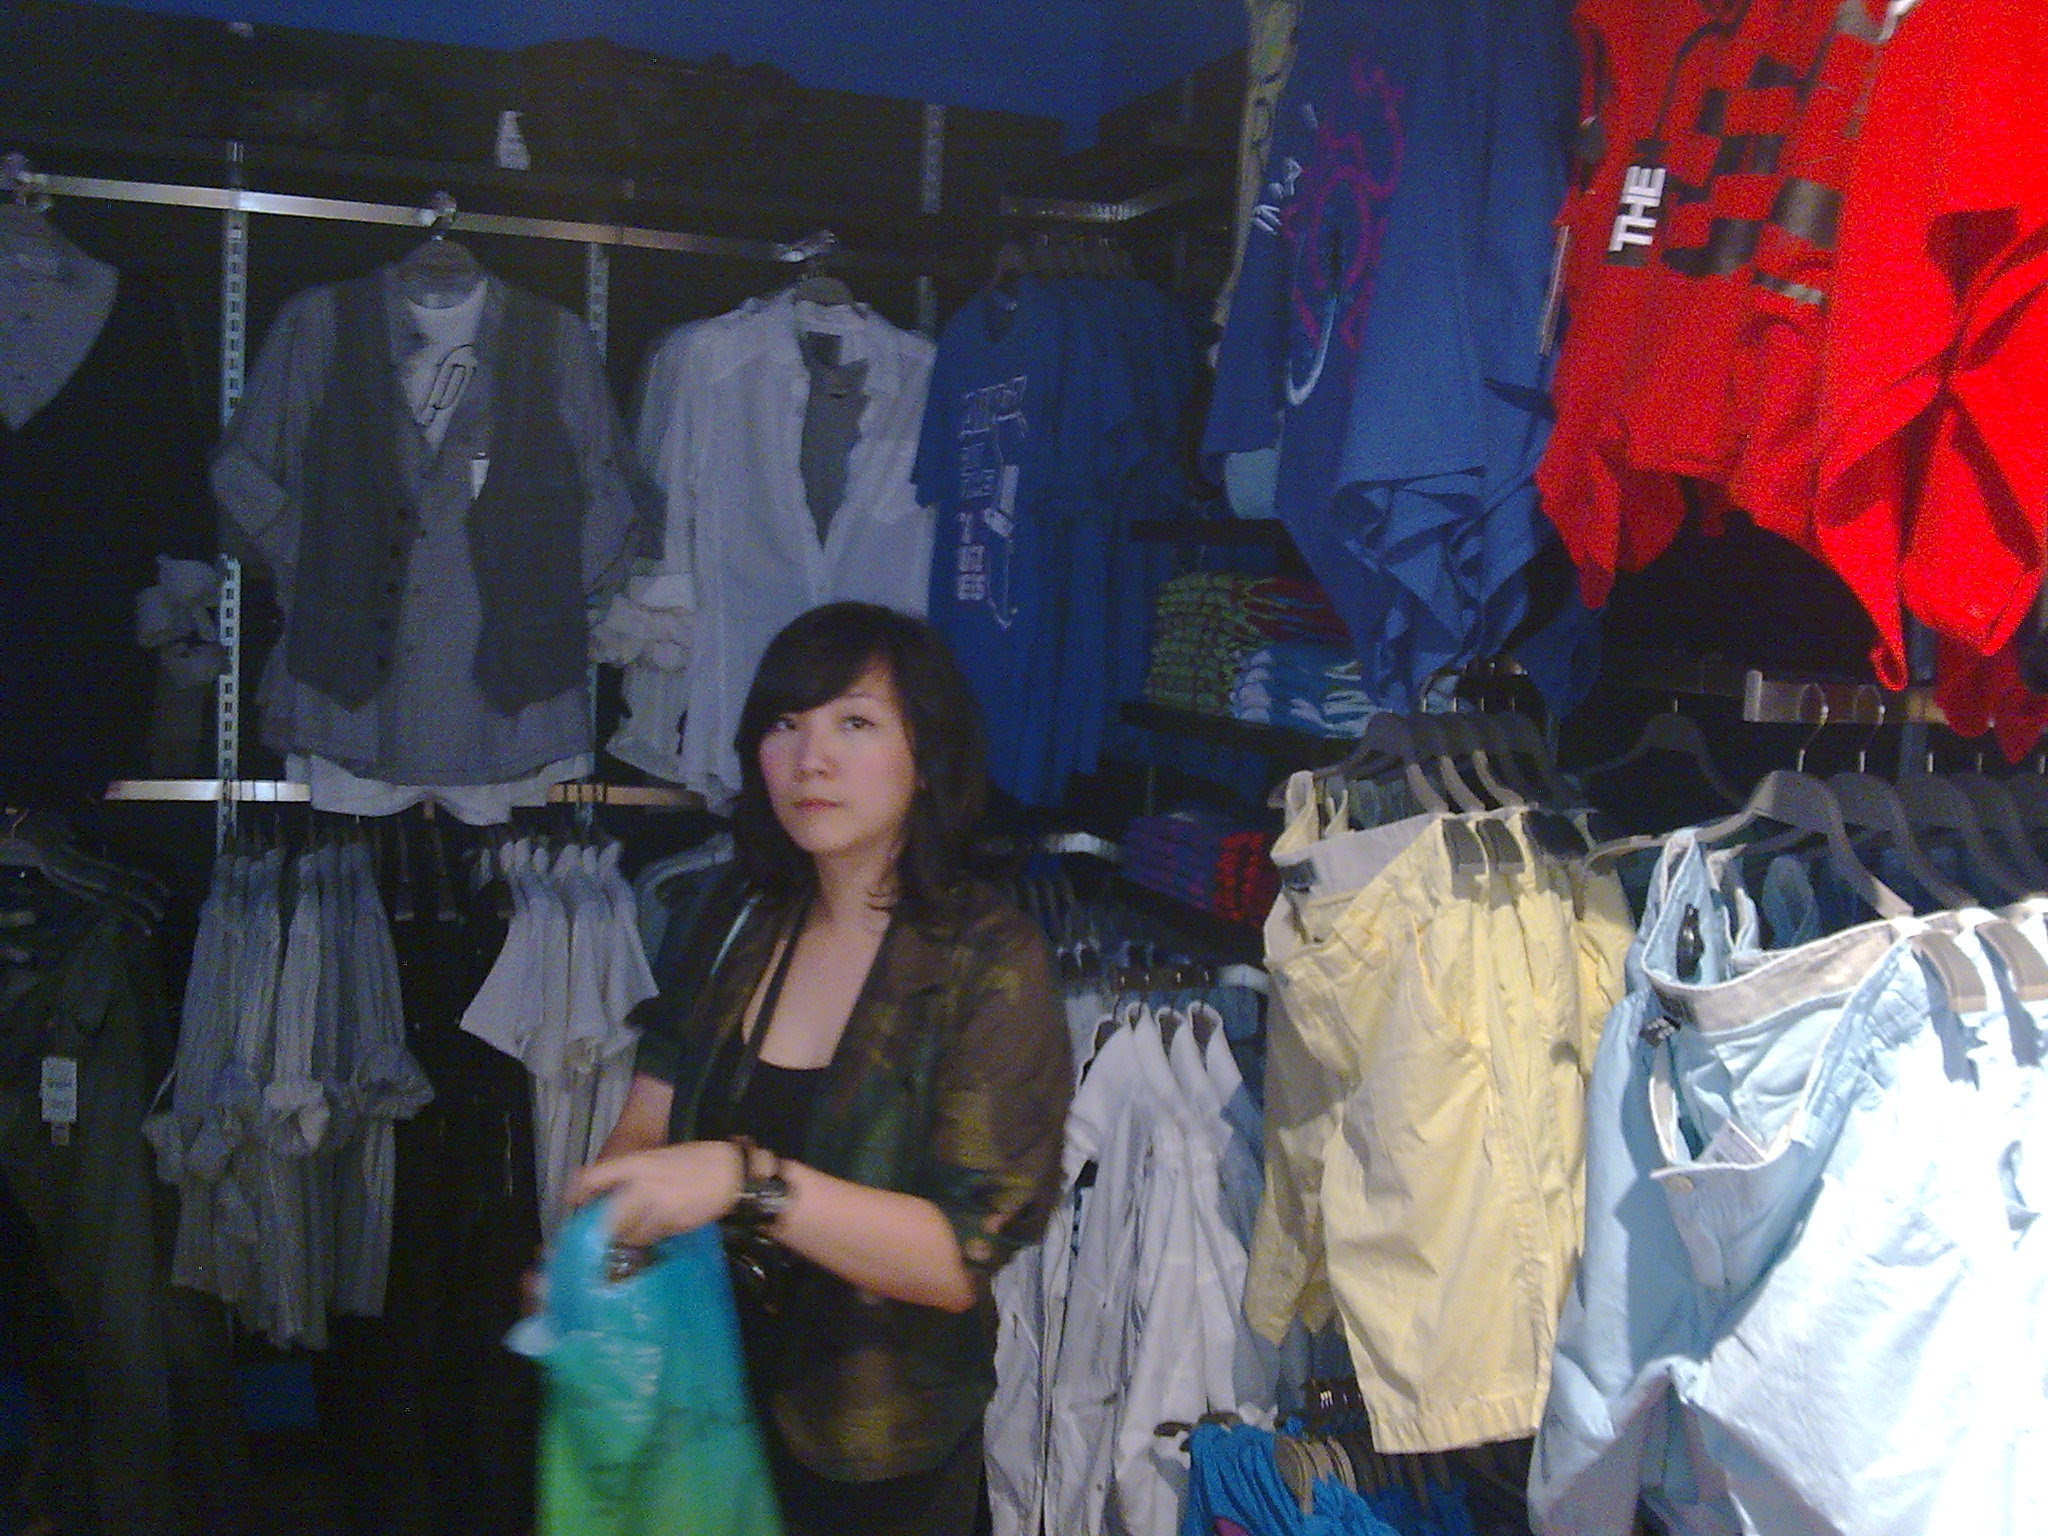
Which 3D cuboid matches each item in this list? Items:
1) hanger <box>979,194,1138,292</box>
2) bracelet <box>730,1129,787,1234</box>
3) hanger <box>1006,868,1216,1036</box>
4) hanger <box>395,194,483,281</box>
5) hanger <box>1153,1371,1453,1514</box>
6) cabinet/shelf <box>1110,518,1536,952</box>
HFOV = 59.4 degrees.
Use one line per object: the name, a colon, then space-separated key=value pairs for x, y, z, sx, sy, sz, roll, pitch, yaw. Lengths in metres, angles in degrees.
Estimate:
hanger: x=0.059 y=-0.886 z=3.016 sx=0.205 sy=0.079 sz=0.216 roll=-1 pitch=29 yaw=-9
bracelet: x=-0.313 y=0.499 z=2.140 sx=0.036 sy=0.074 sz=0.096 roll=0 pitch=19 yaw=-19
hanger: x=0.130 y=0.231 z=2.514 sx=0.221 sy=0.077 sz=0.230 roll=10 pitch=0 yaw=-9
hanger: x=-0.944 y=-0.846 z=2.909 sx=0.116 sy=0.164 sz=0.240 roll=5 pitch=-1 yaw=-21
hanger: x=0.318 y=0.787 z=2.110 sx=0.195 sy=0.109 sz=0.268 roll=3 pitch=-11 yaw=-5
cabinet/shelf: x=0.383 y=-0.041 z=2.284 sx=0.212 sy=0.582 sz=0.594 roll=-2 pitch=4 yaw=-34
